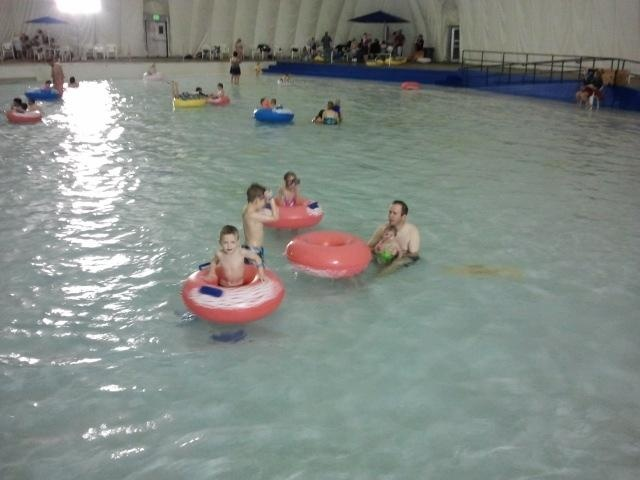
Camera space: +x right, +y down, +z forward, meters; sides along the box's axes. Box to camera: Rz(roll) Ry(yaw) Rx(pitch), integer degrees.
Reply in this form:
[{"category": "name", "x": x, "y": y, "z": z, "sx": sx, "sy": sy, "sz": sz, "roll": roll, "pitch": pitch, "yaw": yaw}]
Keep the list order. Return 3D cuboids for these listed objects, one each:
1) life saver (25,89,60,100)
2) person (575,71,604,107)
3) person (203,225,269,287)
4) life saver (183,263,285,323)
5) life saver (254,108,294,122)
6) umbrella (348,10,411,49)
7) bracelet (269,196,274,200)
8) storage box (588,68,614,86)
[{"category": "life saver", "x": -9.578, "y": -4.982, "z": 19.436, "sx": 1.300, "sy": 0.391, "sz": 1.255, "roll": -5, "pitch": 19, "yaw": -24}, {"category": "person", "x": 9.346, "y": -5.252, "z": 19.614, "sx": 0.483, "sy": 0.933, "sz": 1.465, "roll": 13, "pitch": 49, "yaw": 29}, {"category": "person", "x": -0.996, "y": 0.375, "z": 6.260, "sx": 0.719, "sy": 1.051, "sz": 0.333, "roll": -1, "pitch": 29, "yaw": -5}, {"category": "life saver", "x": -1.019, "y": 0.628, "z": 6.050, "sx": 0.707, "sy": 0.225, "sz": 0.704, "roll": 10, "pitch": 18, "yaw": 22}, {"category": "life saver", "x": -1.458, "y": -3.608, "z": 16.430, "sx": 0.611, "sy": 0.241, "sz": 0.696, "roll": -9, "pitch": 25, "yaw": -39}, {"category": "umbrella", "x": 3.207, "y": -10.883, "z": 30.304, "sx": 2.451, "sy": 0.931, "sz": 2.583, "roll": -3, "pitch": 25, "yaw": -8}, {"category": "bracelet", "x": -0.642, "y": -0.534, "z": 7.264, "sx": 0.096, "sy": 0.028, "sz": 0.093, "roll": 2, "pitch": 20, "yaw": -1}, {"category": "storage box", "x": 9.652, "y": -5.475, "z": 19.156, "sx": 0.711, "sy": 0.522, "sz": 0.448, "roll": -1, "pitch": 17, "yaw": 1}]
